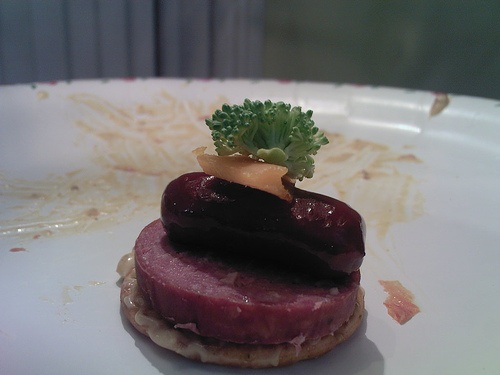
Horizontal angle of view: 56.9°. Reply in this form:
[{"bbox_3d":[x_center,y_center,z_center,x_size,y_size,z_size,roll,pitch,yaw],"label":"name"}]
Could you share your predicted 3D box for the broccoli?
[{"bbox_3d":[0.050,-0.171,1.246,0.326,0.227,0.184,-5,22,-14],"label":"broccoli"}]
